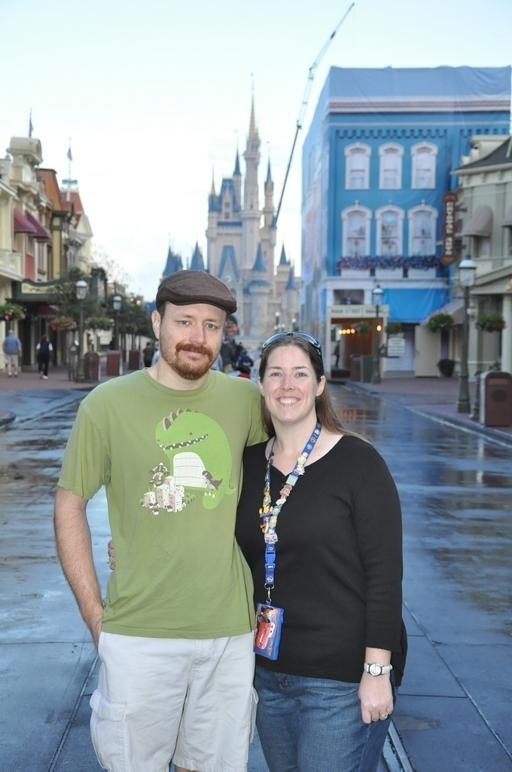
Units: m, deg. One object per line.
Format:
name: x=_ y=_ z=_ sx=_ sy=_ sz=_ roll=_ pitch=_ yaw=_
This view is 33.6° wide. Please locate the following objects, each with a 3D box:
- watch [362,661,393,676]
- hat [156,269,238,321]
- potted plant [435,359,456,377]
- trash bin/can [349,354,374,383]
watch: x=0.331 y=0.779 z=2.333 sx=0.070 sy=0.034 sz=0.050 roll=0 pitch=4 yaw=5
hat: x=-0.191 y=-0.300 z=2.719 sx=0.236 sy=0.125 sz=0.297 roll=7 pitch=-2 yaw=-25
potted plant: x=9.784 y=-0.977 z=43.902 sx=0.887 sy=0.943 sz=0.894 roll=-1 pitch=3 yaw=0
trash bin/can: x=5.296 y=-0.893 z=40.187 sx=1.662 sy=1.577 sz=1.138 roll=1 pitch=-3 yaw=-3
